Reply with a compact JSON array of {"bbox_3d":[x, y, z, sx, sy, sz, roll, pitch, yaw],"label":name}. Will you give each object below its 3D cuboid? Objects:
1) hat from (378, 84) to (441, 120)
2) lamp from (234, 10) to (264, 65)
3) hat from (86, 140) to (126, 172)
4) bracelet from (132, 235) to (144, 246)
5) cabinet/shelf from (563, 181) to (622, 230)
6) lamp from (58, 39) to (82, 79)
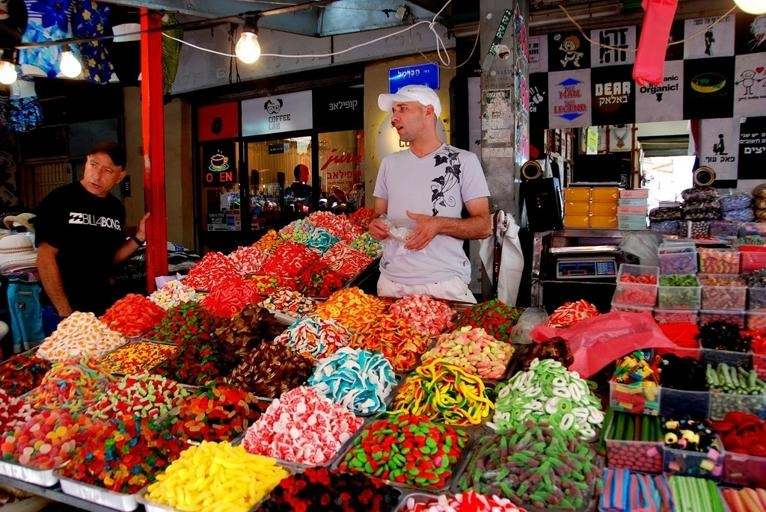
[{"bbox_3d":[0.189,-0.947,3.388,0.321,0.154,0.211,3,-1,-23],"label":"hat"},{"bbox_3d":[-1.170,-1.892,4.853,0.215,0.361,0.608,-6,12,-12],"label":"lamp"},{"bbox_3d":[-1.988,-0.724,4.066,0.209,0.211,0.251,-5,12,-5],"label":"hat"},{"bbox_3d":[-1.831,-0.119,4.173,0.061,0.059,0.056,41,1,30],"label":"bracelet"},{"bbox_3d":[2.007,-0.503,5.746,0.686,0.413,0.674,1,5,8],"label":"cabinet/shelf"},{"bbox_3d":[-3.068,-1.930,5.467,0.185,0.320,0.763,-10,13,-27],"label":"lamp"}]
